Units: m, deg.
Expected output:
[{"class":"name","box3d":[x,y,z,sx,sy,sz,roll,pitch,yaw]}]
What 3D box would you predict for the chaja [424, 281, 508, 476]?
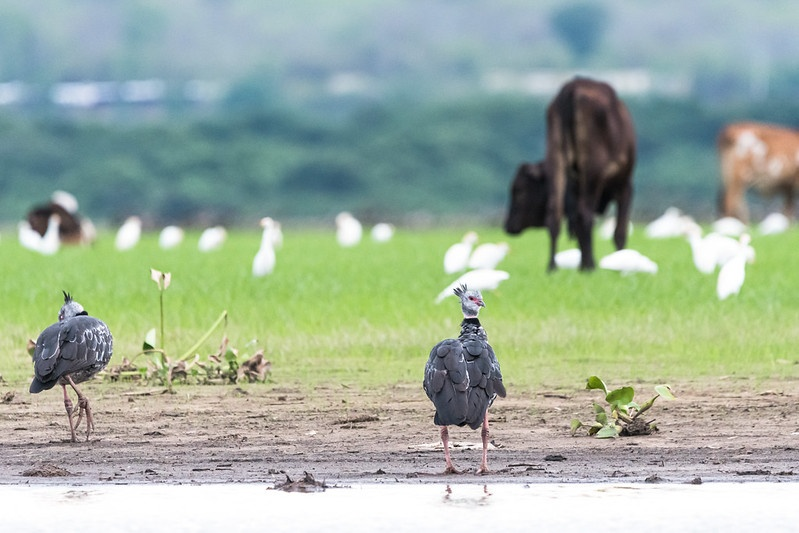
[{"class":"chaja","box3d":[0.939,1.651,21.722,1.081,2.842,0.845,0,-2,-28]}]
